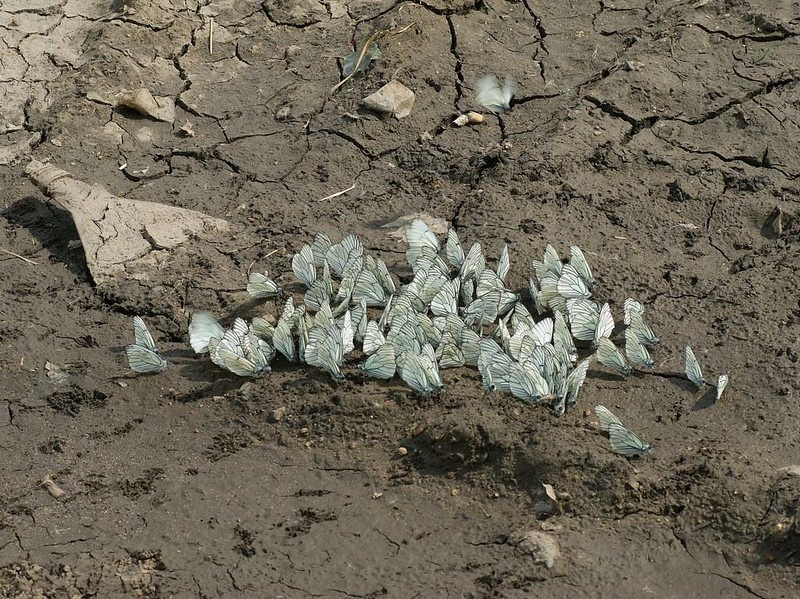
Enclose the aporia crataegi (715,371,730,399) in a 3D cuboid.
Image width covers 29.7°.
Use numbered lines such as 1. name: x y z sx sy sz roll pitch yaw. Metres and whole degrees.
1. aporia crataegi: 3.282 0.886 15.342 0.123 0.085 0.242 11 73 7
